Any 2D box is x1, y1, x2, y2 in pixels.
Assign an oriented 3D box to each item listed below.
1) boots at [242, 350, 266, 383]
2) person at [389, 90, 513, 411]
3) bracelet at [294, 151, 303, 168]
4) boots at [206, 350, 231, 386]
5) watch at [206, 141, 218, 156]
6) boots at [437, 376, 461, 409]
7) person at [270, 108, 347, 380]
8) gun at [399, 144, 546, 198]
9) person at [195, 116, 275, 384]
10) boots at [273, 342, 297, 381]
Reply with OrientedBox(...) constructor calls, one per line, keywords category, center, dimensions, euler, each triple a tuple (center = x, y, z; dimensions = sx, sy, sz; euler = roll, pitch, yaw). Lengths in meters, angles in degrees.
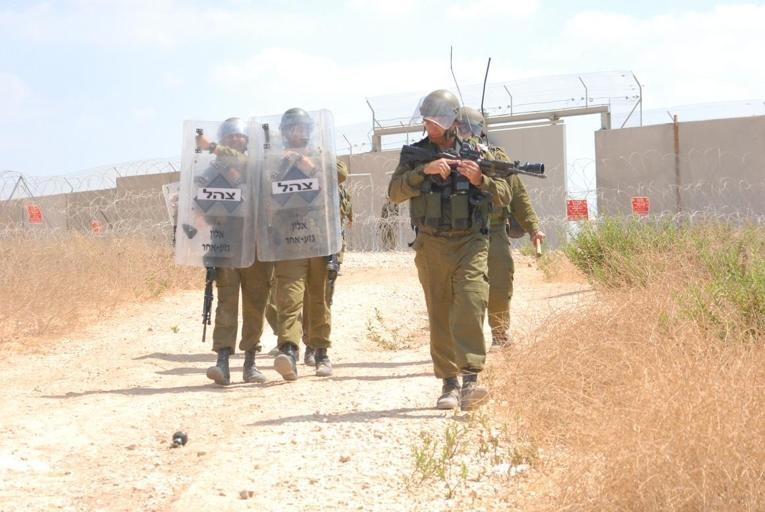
OrientedBox(category="boots", center=(-1.200, 1.026, 7.393), dimensions=(0.141, 0.299, 0.298), euler=(4, 3, -44))
OrientedBox(category="person", center=(0.609, -0.082, 6.503), dimensions=(0.646, 2.519, 0.963), euler=(-5, 9, -36))
OrientedBox(category="bracelet", center=(-0.758, -0.872, 7.277), dimensions=(0.073, 0.110, 0.030), euler=(-18, 2, -7))
OrientedBox(category="boots", center=(-1.458, 0.968, 7.172), dimensions=(0.147, 0.319, 0.320), euler=(-4, -18, 13))
OrientedBox(category="watch", center=(-1.553, -0.993, 7.212), dimensions=(0.070, 0.118, 0.106), euler=(1, 0, -24))
OrientedBox(category="boots", center=(0.533, 1.094, 6.383), dimensions=(0.192, 0.229, 0.249), euler=(1, 8, 5))
OrientedBox(category="person", center=(-0.725, -0.086, 7.403), dimensions=(0.605, 2.523, 1.087), euler=(2, 7, 17))
OrientedBox(category="gun", center=(0.775, -0.738, 6.545), dimensions=(1.066, 0.408, 0.139), euler=(12, 42, 18))
OrientedBox(category="person", center=(-1.371, -0.031, 7.297), dimensions=(0.609, 2.424, 0.754), euler=(3, 8, 21))
OrientedBox(category="boots", center=(-0.868, 0.952, 7.185), dimensions=(0.135, 0.338, 0.322), euler=(-6, 30, 4))
